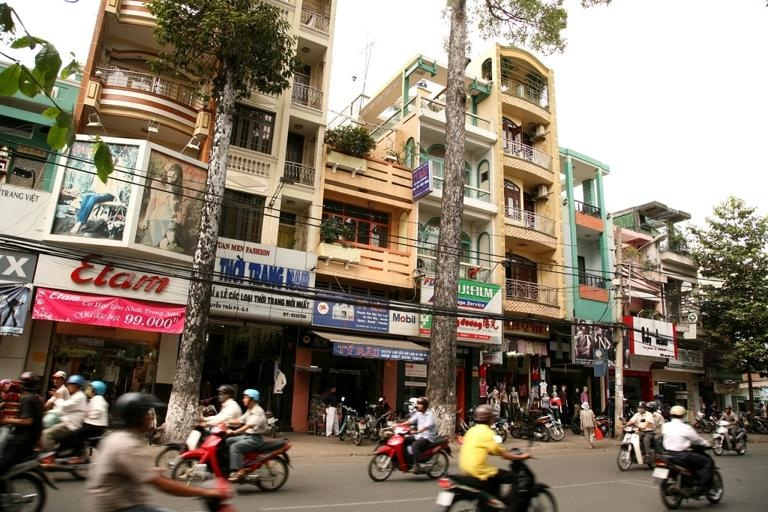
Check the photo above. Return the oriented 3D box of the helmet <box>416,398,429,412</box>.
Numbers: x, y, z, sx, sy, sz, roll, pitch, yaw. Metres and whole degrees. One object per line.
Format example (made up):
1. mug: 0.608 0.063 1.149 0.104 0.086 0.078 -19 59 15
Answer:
1. helmet: 1.049 3.856 14.988 0.333 0.287 0.259 10 -6 -37

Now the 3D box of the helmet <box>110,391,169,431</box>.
1. helmet: -3.605 2.224 8.332 0.567 0.537 0.321 10 -20 -19

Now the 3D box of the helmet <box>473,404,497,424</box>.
1. helmet: 1.961 3.068 11.195 0.353 0.378 0.586 -4 -19 21

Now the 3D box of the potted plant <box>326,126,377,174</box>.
1. potted plant: -1.505 -4.671 24.504 2.038 1.797 1.129 6 -19 -9

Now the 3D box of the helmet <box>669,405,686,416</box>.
1. helmet: 6.947 3.641 13.616 0.280 0.266 0.562 -6 -20 24

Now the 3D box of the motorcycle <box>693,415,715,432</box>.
1. motorcycle: 17.060 8.955 30.606 1.002 0.580 0.619 -7 -12 41

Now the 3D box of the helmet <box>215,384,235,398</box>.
1. helmet: -3.657 3.124 13.369 0.249 0.299 0.483 3 -18 2

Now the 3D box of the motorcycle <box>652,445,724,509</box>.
1. motorcycle: 6.863 4.941 12.963 1.866 1.385 0.766 16 -23 -34

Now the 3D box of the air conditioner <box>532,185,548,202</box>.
1. air conditioner: 8.322 -3.369 30.480 0.369 0.898 0.839 17 -23 -34

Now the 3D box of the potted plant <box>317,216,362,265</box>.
1. potted plant: -1.892 -0.619 23.561 1.934 1.730 0.949 9 -14 -32

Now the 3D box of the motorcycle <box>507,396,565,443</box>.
1. motorcycle: 6.073 7.043 24.673 3.053 1.733 1.531 -2 -21 21
